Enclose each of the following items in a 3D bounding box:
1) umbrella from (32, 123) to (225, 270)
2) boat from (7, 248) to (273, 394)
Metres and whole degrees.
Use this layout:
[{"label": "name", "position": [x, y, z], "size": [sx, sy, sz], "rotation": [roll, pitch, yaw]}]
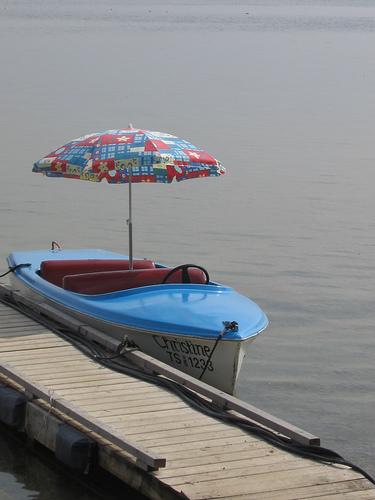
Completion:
[{"label": "umbrella", "position": [-0.572, -0.575, 12.347], "size": [1.745, 1.257, 1.682], "rotation": [-8, -11, 42]}, {"label": "boat", "position": [-0.598, 0.764, 12.010], "size": [1.358, 0.901, 3.058], "rotation": [-9, 18, -36]}]
